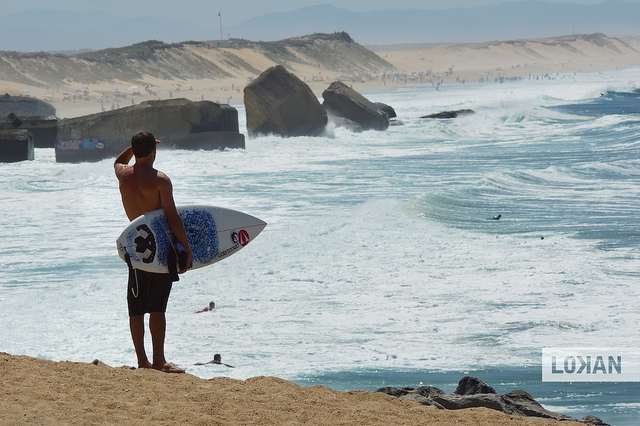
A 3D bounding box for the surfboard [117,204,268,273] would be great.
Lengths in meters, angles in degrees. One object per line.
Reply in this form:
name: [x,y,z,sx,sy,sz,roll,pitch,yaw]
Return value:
surfboard: [-6.647,1.186,71.208,7.458,2.459,0.670,-5,2,-22]
